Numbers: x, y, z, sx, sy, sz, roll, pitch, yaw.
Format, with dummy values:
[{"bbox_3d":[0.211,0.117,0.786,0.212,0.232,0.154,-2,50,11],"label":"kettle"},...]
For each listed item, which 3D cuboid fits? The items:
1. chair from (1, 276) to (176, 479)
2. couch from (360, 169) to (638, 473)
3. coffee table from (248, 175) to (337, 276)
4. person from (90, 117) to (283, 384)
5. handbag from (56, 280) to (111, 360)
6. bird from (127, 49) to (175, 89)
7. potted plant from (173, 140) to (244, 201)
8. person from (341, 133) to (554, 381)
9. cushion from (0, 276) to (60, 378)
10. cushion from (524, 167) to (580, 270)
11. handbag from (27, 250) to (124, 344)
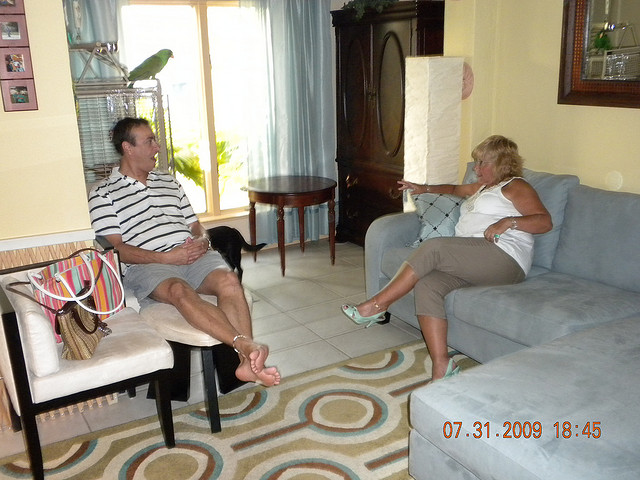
[{"bbox_3d":[-1.117,0.672,2.126,0.584,0.804,0.619,-11,27,-25],"label":"chair"},{"bbox_3d":[0.961,0.393,2.325,0.965,0.569,1.362,-12,21,-19],"label":"couch"},{"bbox_3d":[-0.267,-0.184,4.494,0.832,0.860,0.728,-10,17,-21],"label":"coffee table"},{"bbox_3d":[-0.745,0.002,2.541,0.707,1.009,1.718,-18,33,-37],"label":"person"},{"bbox_3d":[-1.134,0.410,2.126,0.135,0.266,0.298,-8,3,-3],"label":"handbag"},{"bbox_3d":[-1.507,-1.514,3.937,0.508,0.277,0.167,-8,14,-1],"label":"bird"},{"bbox_3d":[-1.225,-0.738,4.965,0.703,0.445,0.689,-13,14,-39],"label":"potted plant"},{"bbox_3d":[0.871,0.072,2.919,1.105,1.549,0.833,-4,-7,-8],"label":"person"},{"bbox_3d":[-1.248,0.382,1.938,0.091,0.237,0.428,-18,35,-27],"label":"cushion"},{"bbox_3d":[1.482,-0.155,3.026,0.275,0.549,0.592,3,5,-11],"label":"cushion"},{"bbox_3d":[-1.111,0.247,2.233,0.456,0.411,0.198,-16,16,11],"label":"handbag"}]
